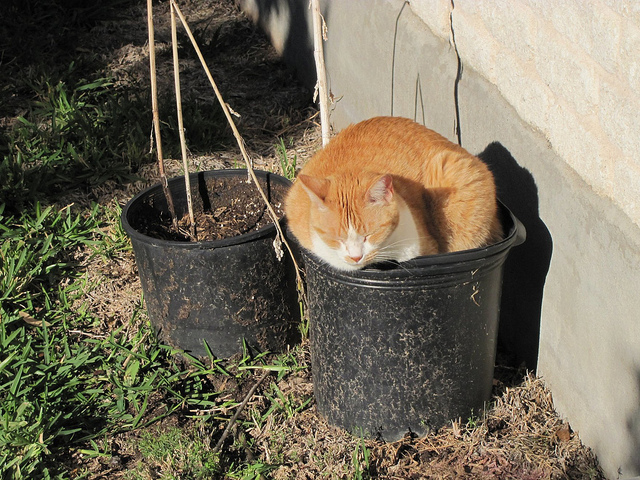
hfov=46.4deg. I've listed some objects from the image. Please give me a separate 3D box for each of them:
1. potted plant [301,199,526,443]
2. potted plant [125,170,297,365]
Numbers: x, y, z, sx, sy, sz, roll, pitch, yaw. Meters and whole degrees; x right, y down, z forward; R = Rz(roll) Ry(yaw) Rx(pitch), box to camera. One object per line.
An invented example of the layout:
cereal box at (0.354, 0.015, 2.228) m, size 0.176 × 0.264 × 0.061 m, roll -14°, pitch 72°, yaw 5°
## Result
potted plant at (0.335, 0.239, 3.599) m, size 1.017 × 0.973 × 1.039 m, roll -7°, pitch 33°, yaw -7°
potted plant at (-0.551, 0.120, 3.935) m, size 0.706 × 0.765 × 0.765 m, roll -7°, pitch 29°, yaw -5°
